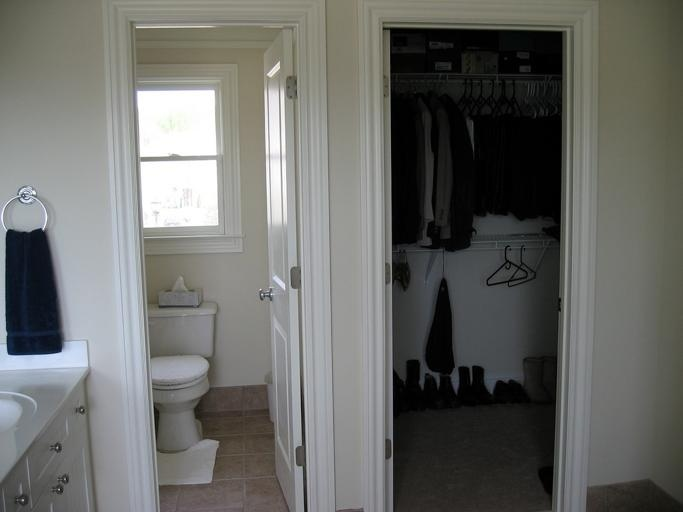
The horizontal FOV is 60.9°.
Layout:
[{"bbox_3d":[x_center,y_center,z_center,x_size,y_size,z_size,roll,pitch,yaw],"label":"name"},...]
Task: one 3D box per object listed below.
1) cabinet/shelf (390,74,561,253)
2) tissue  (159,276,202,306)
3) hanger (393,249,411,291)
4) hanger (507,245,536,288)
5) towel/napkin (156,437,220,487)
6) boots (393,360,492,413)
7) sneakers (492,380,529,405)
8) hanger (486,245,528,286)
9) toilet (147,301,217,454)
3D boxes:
[{"bbox_3d":[0.889,-0.647,3.931,1.244,1.140,0.414,-5,14,-10],"label":"cabinet/shelf"},{"bbox_3d":[-1.092,0.257,3.960,0.206,0.179,0.222,1,-1,-7],"label":"tissue "},{"bbox_3d":[0.434,0.104,4.131,0.130,0.301,0.136,-1,13,3],"label":"hanger"},{"bbox_3d":[1.309,0.055,4.228,0.231,0.306,0.012,-10,22,11],"label":"hanger"},{"bbox_3d":[-0.953,1.266,3.569,0.242,0.015,0.305,2,18,-3],"label":"towel/napkin"},{"bbox_3d":[0.717,0.910,4.216,0.752,0.285,0.289,-5,15,-11],"label":"boots"},{"bbox_3d":[1.225,0.985,4.239,0.117,0.089,0.228,0,-4,-8],"label":"sneakers"},{"bbox_3d":[1.206,0.051,4.233,0.254,0.206,0.009,-3,18,-1],"label":"hanger"},{"bbox_3d":[-1.108,0.788,3.868,0.500,0.864,0.650,-1,10,-11],"label":"toilet"}]
